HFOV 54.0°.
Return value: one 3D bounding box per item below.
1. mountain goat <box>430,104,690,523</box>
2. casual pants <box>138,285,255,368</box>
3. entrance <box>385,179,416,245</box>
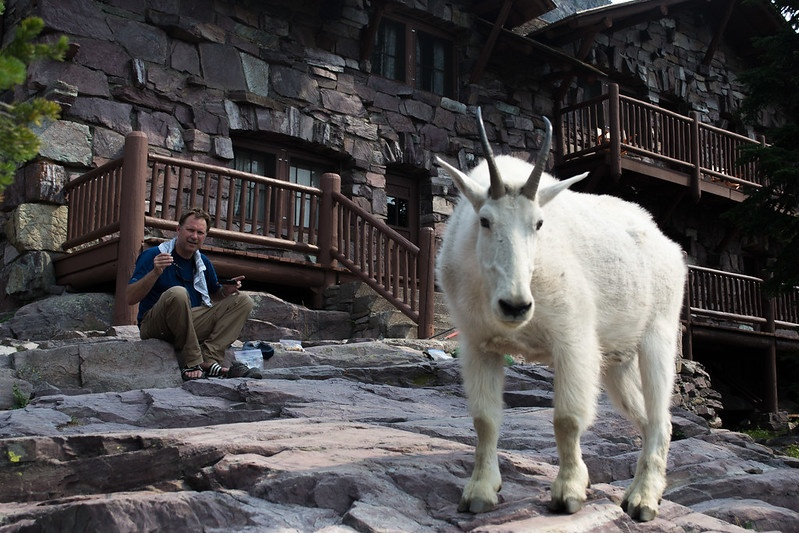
[{"bbox_3d":[1.334,0.541,6.578,1.104,3.148,3.805,2,-7,42],"label":"mountain goat"},{"bbox_3d":[-2.195,0.650,8.453,0.929,0.931,0.686,-5,-4,13],"label":"casual pants"},{"bbox_3d":[-0.069,-1.004,15.224,0.818,1.580,0.114,8,-14,-36],"label":"entrance"}]
